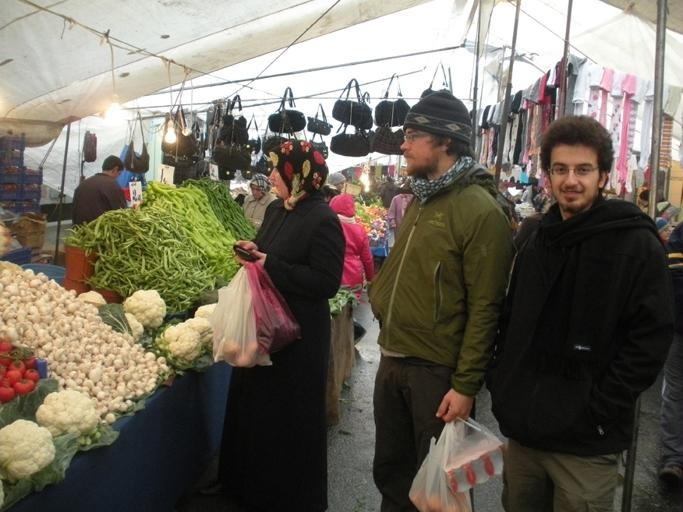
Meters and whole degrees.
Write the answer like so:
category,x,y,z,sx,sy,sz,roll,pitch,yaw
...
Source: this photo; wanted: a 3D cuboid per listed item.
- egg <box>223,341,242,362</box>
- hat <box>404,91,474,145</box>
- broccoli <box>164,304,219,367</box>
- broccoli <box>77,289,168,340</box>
category,x,y,z,sx,sy,sz,roll,pitch,yaw
egg,-0.629,0.556,2.868,0.095,0.142,0.051,3,5,18
hat,0.562,-0.771,2.751,0.313,0.247,0.309,29,-5,-26
broccoli,-0.981,0.559,3.169,0.200,0.277,0.340,6,6,40
broccoli,-1.433,0.299,3.306,0.460,0.300,0.508,10,12,30
